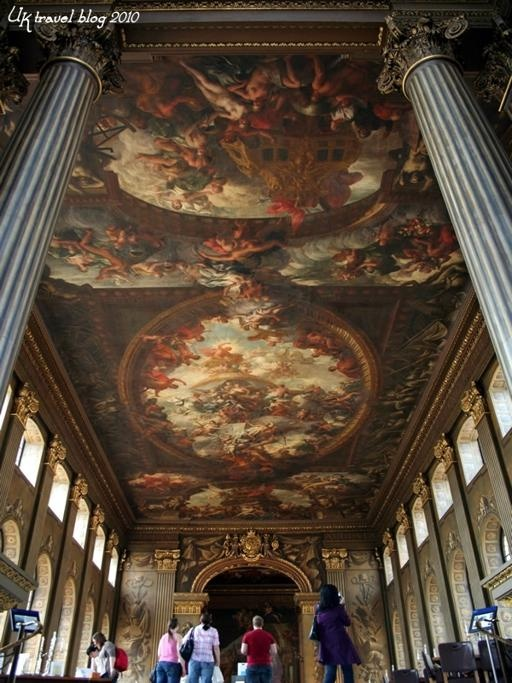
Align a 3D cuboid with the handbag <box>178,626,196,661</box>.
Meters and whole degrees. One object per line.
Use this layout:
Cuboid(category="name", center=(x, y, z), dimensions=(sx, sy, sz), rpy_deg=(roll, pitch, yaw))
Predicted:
Cuboid(category="handbag", center=(-0.997, 4.367, 6.986), dimensions=(0.189, 0.405, 0.245), rpy_deg=(8, -37, -11))
